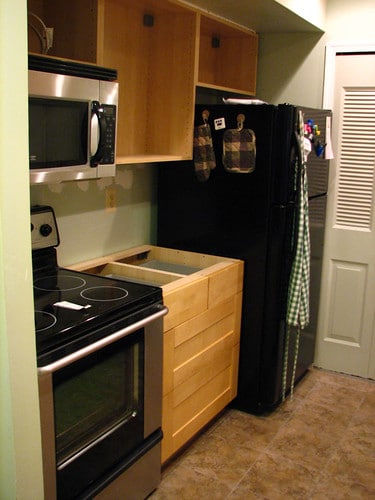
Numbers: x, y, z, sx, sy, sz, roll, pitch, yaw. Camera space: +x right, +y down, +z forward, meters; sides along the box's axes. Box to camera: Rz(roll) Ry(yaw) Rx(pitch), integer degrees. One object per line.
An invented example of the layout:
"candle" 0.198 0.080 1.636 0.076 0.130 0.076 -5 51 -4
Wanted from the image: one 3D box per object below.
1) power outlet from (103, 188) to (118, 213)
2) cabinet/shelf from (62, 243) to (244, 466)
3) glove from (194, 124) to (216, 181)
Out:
"power outlet" -0.418 -0.270 2.163 0.011 0.128 0.110 7 14 21
"cabinet/shelf" -0.173 0.372 2.380 0.859 1.146 1.139 8 16 29
"glove" 0.100 -0.537 2.222 0.135 0.270 0.062 13 25 35
